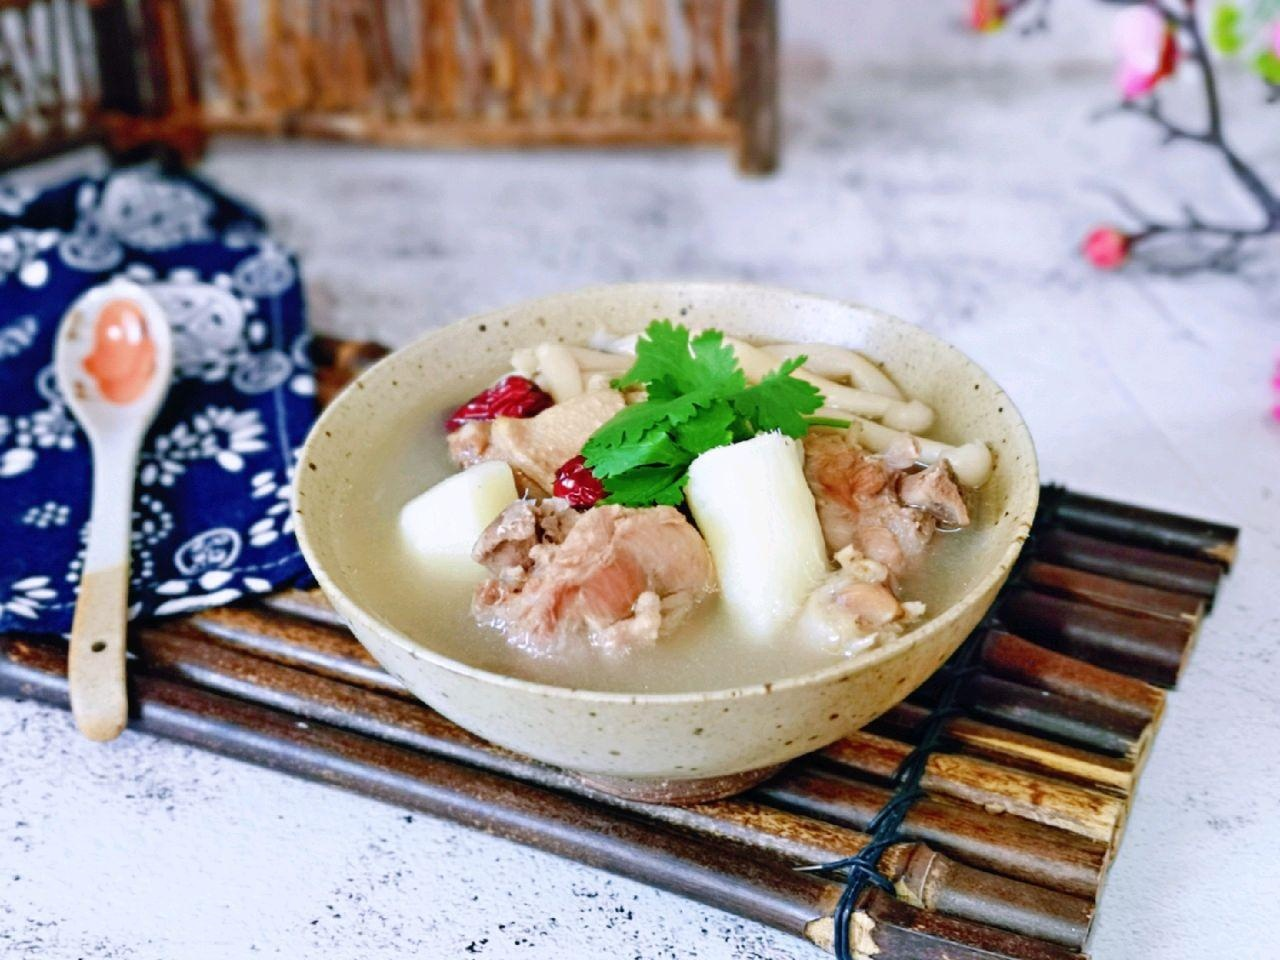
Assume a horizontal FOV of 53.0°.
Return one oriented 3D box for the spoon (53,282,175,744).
[{"bbox_3d":[-0.809,-0.008,2.002,0.205,0.131,0.903,-4,48,-10],"label":"spoon"}]
